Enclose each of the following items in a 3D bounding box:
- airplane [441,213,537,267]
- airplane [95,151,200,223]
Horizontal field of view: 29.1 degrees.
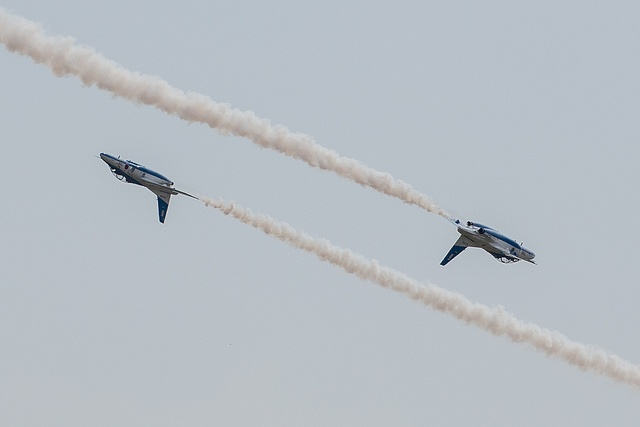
[{"bbox_3d":[8.882,1.766,66.040,4.611,2.451,4.678,20,-19,13],"label":"airplane"},{"bbox_3d":[-9.028,-2.116,65.292,5.457,1.807,5.975,24,11,-10],"label":"airplane"}]
